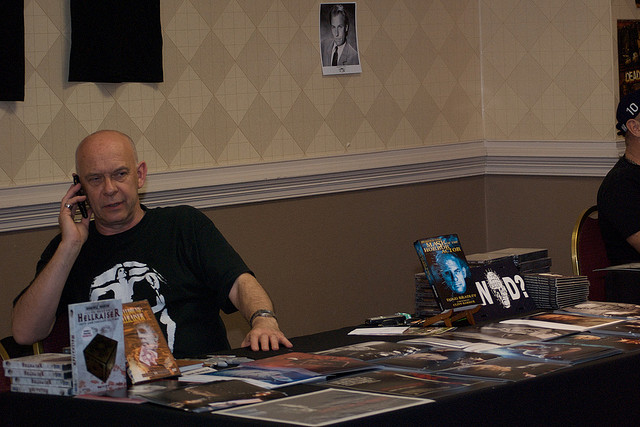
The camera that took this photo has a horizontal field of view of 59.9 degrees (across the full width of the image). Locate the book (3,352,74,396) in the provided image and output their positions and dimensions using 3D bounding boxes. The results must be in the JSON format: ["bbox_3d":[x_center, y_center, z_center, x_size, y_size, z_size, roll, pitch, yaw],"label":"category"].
[{"bbox_3d":[-0.825,0.473,1.626,0.164,0.067,0.173,-2,3,26],"label":"book"}]

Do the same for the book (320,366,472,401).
[{"bbox_3d":[0.210,0.473,1.570,0.380,0.023,0.202,2,8,35],"label":"book"}]

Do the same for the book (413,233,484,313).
[{"bbox_3d":[0.508,0.242,2.214,0.207,0.269,0.205,-5,6,-19],"label":"book"}]

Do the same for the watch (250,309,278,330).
[{"bbox_3d":[-0.221,0.403,2.121,0.089,0.101,0.056,3,6,-6],"label":"watch"}]

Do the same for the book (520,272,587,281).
[{"bbox_3d":[1.029,0.283,2.457,0.172,0.025,0.172,2,-5,-35],"label":"book"}]

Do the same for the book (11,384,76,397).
[{"bbox_3d":[-0.812,0.520,1.626,0.089,0.020,0.093,-1,-3,31],"label":"book"}]

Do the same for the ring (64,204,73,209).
[{"bbox_3d":[-1.105,-0.027,2.429,0.020,0.014,0.022,13,2,-1],"label":"ring"}]
